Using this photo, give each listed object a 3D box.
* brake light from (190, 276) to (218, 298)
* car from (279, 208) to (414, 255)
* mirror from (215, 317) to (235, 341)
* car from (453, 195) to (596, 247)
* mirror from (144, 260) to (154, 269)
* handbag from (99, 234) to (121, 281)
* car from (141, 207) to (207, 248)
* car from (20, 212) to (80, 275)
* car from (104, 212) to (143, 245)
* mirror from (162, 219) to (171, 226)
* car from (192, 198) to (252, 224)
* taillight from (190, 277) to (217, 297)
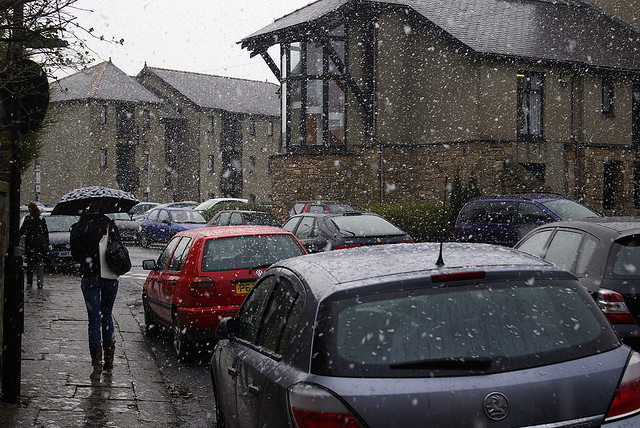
[{"bbox_3d":[-1.744,1.101,8.600,0.252,0.289,0.375,1,-4,-18],"label":"brake light"},{"bbox_3d":[0.359,0.364,14.084,1.165,0.982,2.706,-2,5,-24],"label":"car"},{"bbox_3d":[-0.887,1.071,5.385,0.181,0.237,0.159,3,-2,6],"label":"mirror"},{"bbox_3d":[5.485,0.290,16.402,1.719,1.602,3.145,0,-5,-42],"label":"car"},{"bbox_3d":[-3.047,0.891,10.238,0.181,0.118,0.131,3,0,-34],"label":"mirror"},{"bbox_3d":[-2.811,0.569,7.685,0.262,0.526,0.210,3,1,-23],"label":"handbag"},{"bbox_3d":[-7.005,0.520,26.961,1.830,1.592,3.177,0,-4,-37],"label":"car"},{"bbox_3d":[-7.329,0.853,15.570,1.749,1.754,3.191,0,-2,-35],"label":"car"},{"bbox_3d":[-10.644,0.500,30.399,1.682,1.533,4.120,4,3,-31],"label":"car"},{"bbox_3d":[-6.901,0.371,26.059,0.179,0.259,0.761,3,1,-36],"label":"mirror"},{"bbox_3d":[-5.549,-0.456,32.563,2.735,1.174,1.661,4,5,31],"label":"car"},{"bbox_3d":[-1.737,1.102,8.602,0.247,0.276,0.360,0,-3,-11],"label":"taillight"}]
